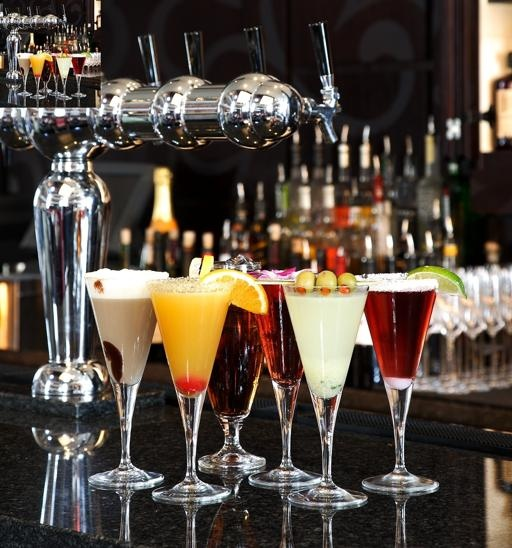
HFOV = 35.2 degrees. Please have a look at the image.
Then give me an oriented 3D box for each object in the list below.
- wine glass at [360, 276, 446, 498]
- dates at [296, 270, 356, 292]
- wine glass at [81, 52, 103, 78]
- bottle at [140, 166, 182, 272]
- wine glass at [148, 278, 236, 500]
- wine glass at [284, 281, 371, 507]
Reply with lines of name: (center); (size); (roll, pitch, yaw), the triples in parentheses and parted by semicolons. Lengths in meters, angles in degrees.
wine glass: (0.182, 0.130, 1.026); (0.093, 0.261, 0.184); (0, -2, 9)
dates: (0.082, 0.007, 0.939); (0.069, 0.025, 0.088); (0, -1, 7)
wine glass: (-0.278, -0.356, 1.390); (0.044, 0.042, 0.042); (0, 0, -1)
bottle: (-0.504, -0.291, 4.256); (0.200, 0.595, 0.451); (0, -2, -6)
wine glass: (-0.080, 0.135, 1.000); (0.097, 0.258, 0.166); (0, -2, -3)
wine glass: (0.094, 0.139, 0.969); (0.097, 0.248, 0.156); (0, -2, 23)
